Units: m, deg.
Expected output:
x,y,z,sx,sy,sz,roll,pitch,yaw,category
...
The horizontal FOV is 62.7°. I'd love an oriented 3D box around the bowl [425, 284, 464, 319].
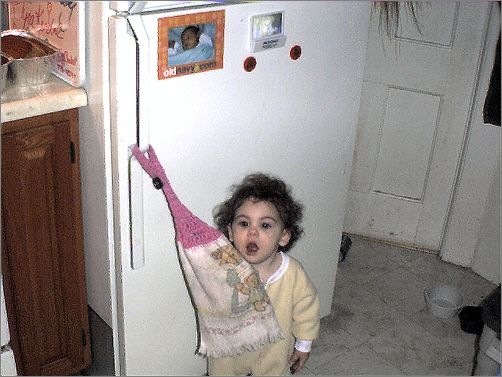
x,y,z,sx,sy,sz,roll,pitch,yaw,category
1.069,0.631,2.287,0.212,0.123,0.185,-12,20,-38,bowl
